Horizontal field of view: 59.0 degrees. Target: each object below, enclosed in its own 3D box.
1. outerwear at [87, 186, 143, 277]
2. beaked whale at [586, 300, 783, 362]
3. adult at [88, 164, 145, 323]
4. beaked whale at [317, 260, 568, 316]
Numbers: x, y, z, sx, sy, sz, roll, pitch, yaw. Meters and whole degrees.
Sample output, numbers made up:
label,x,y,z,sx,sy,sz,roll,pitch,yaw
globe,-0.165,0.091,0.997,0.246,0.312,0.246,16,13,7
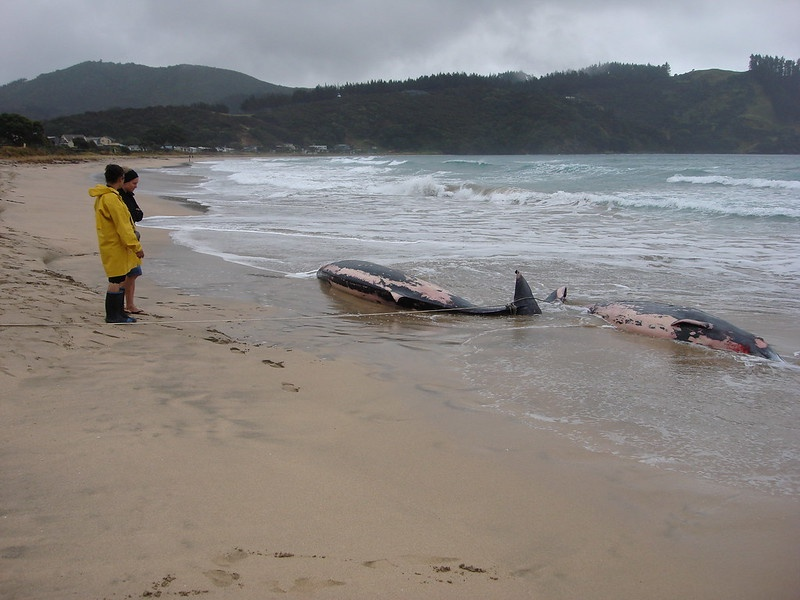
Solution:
label,x,y,z,sx,sy,sz,roll,pitch,yaw
outerwear,-3.195,-0.755,7.878,0.750,0.927,0.484,-1,9,-16
beaked whale,3.390,0.336,8.591,0.493,0.460,2.180,-4,9,-39
adult,-3.195,-0.605,7.850,0.810,1.554,0.863,-1,22,-25
beaked whale,0.565,-0.152,10.335,2.410,0.494,3.162,-5,11,-37
